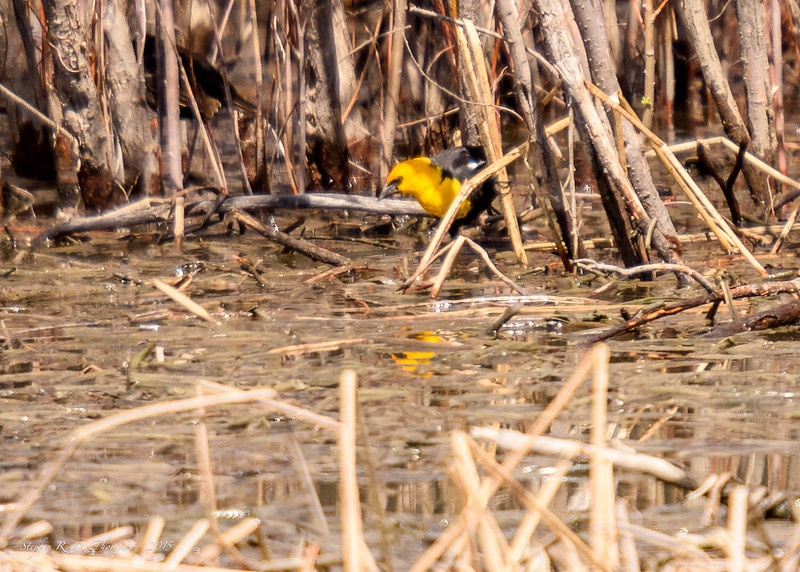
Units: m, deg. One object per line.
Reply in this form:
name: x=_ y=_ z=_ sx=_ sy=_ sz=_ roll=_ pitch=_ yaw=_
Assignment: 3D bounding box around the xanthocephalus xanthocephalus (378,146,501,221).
xanthocephalus xanthocephalus: x=0.191 y=-0.423 z=4.211 sx=0.304 sy=0.322 sz=0.579 roll=-9 pitch=11 yaw=-23
